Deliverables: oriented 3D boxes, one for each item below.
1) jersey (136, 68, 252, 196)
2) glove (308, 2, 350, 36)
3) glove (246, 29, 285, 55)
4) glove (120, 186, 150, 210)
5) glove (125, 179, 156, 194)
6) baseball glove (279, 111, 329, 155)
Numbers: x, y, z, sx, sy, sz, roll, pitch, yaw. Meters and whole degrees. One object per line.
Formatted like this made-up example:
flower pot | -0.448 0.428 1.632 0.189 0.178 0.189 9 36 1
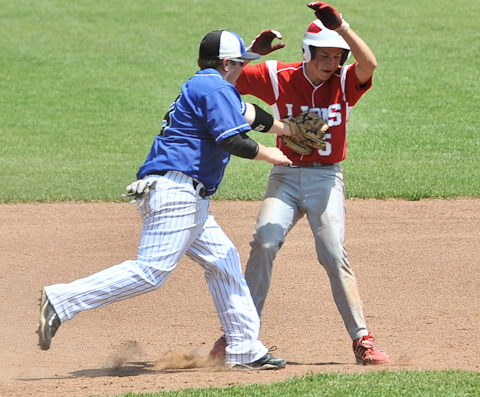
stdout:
jersey | -0.459 -0.652 9.783 0.883 1.198 1.147 10 5 -21
glove | 0.897 -1.830 9.821 0.432 0.164 0.238 27 -45 -16
glove | 0.271 -1.680 10.417 0.407 0.125 0.243 -21 -38 32
glove | -1.000 -0.014 9.502 0.103 0.227 0.224 40 0 -15
glove | -0.966 -0.112 9.469 0.142 0.071 0.211 -12 -1 43
baseball glove | 0.642 -0.644 10.022 0.466 0.376 0.202 7 -14 5
